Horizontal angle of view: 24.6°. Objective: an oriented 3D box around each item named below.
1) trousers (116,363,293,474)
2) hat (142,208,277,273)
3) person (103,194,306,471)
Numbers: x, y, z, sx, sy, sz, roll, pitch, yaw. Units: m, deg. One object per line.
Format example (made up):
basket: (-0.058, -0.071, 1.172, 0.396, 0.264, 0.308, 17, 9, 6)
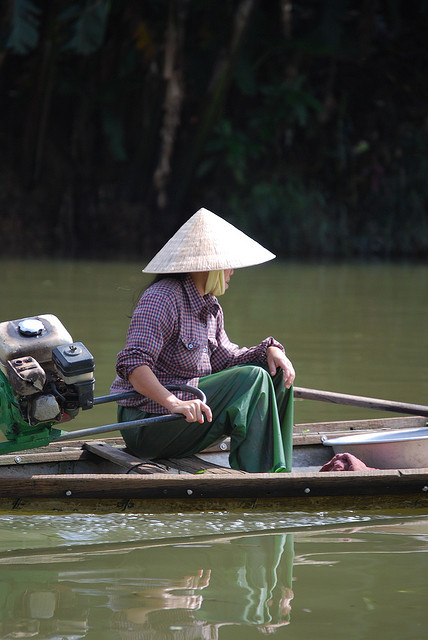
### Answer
trousers: (-0.011, 0.257, 2.596, 0.640, 0.279, 0.356, -7, -7, 42)
hat: (0.001, -0.205, 2.563, 0.253, 0.163, 0.347, 7, 10, 35)
person: (-0.025, 0.151, 2.500, 0.477, 0.723, 0.475, -3, 4, -2)
